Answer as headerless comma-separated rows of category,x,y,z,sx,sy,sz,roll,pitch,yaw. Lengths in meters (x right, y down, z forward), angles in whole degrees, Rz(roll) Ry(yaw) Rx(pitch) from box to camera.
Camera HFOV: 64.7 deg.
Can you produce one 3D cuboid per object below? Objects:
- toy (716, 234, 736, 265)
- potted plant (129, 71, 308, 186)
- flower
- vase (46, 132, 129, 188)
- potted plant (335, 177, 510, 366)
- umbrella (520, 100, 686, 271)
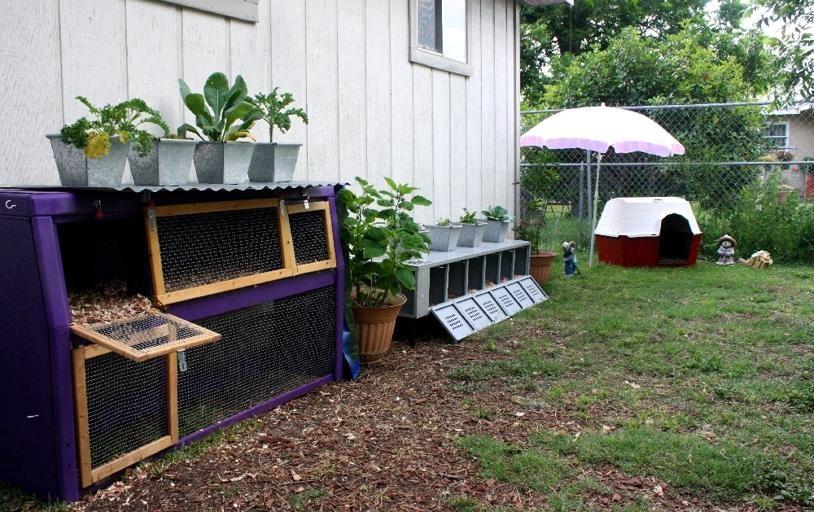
toy,4.739,-0.097,9.522,0.251,0.392,0.389,7,16,25
potted plant,-1.471,-0.834,4.905,0.975,0.691,0.994,0,1,30
flower,-1.865,-0.812,4.199,0.603,0.275,0.577,9,16,0
vase,-2.019,-0.536,4.093,0.381,0.305,0.455,0,2,24
potted plant,-0.179,0.046,5.810,0.764,1.538,1.494,0,14,2
umbrella,2.754,-1.120,9.577,2.317,2.311,2.357,7,8,35
